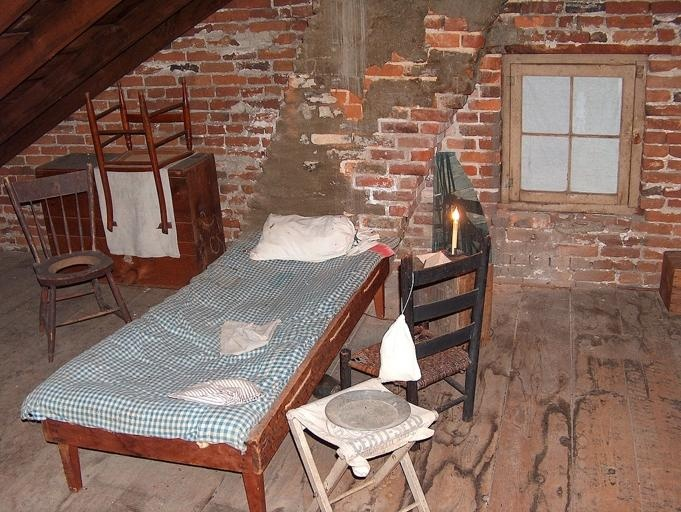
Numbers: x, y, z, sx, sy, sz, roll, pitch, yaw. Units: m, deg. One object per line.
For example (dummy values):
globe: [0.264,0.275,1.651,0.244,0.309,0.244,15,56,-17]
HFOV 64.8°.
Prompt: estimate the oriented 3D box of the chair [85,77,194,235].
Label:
chair: [-1.513,-0.699,4.040,0.781,1.023,0.772,16,10,29]

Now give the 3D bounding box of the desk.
desk: [-1.462,-0.241,3.770,0.966,0.645,0.512,6,29,18]

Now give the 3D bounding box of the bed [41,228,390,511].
bed: [-0.373,0.356,2.474,0.902,0.390,1.460,5,28,16]

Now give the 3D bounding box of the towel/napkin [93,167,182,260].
towel/napkin: [-1.402,-0.321,3.751,0.813,0.835,0.068,1,31,12]

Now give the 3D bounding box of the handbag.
handbag: [0.251,0.391,2.234,0.174,0.291,0.090,1,15,4]

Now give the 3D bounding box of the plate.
plate: [0.105,0.583,2.044,0.323,0.061,0.232,0,12,0]

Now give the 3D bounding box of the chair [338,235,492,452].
chair: [0.389,0.436,2.654,0.695,1.139,0.631,-21,36,-32]
